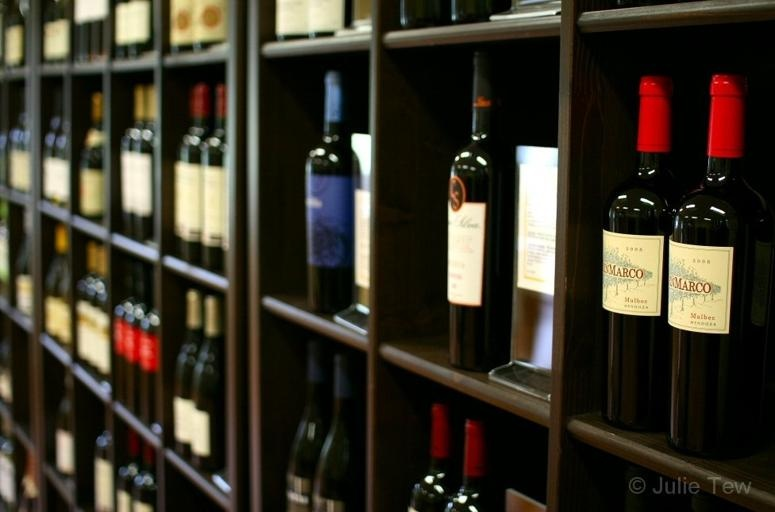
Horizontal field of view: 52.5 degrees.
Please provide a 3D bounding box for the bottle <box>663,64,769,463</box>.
[{"bbox_3d":[0.557,0.087,1.311,0.169,0.501,0.061,0,6,-7],"label":"bottle"}]

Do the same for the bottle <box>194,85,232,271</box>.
[{"bbox_3d":[-0.489,-0.218,2.213,0.061,0.517,0.220,-1,6,-19],"label":"bottle"}]

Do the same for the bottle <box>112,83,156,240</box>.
[{"bbox_3d":[-0.790,-0.297,2.488,0.076,0.482,0.245,-2,7,-30],"label":"bottle"}]

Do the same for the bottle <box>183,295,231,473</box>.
[{"bbox_3d":[-0.531,0.365,2.326,0.098,0.516,0.139,-1,6,-14],"label":"bottle"}]
